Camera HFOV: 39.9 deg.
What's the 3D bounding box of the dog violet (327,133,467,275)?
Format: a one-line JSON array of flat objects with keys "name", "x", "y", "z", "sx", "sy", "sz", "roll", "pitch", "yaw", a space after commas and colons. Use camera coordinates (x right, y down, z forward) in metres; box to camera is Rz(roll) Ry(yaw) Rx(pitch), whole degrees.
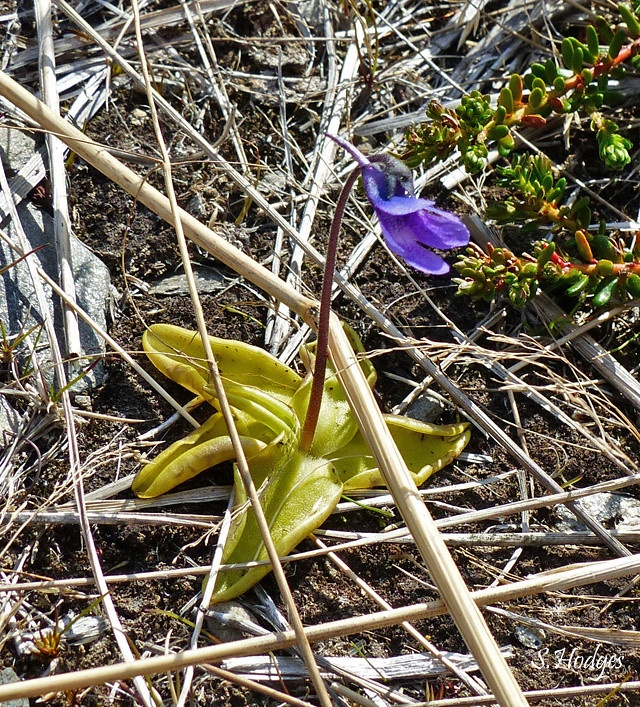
[{"name": "dog violet", "x": 0.185, "y": -0.347, "z": 2.085, "sx": 0.319, "sy": 0.261, "sz": 0.322, "roll": 1, "pitch": 35, "yaw": -2}]
